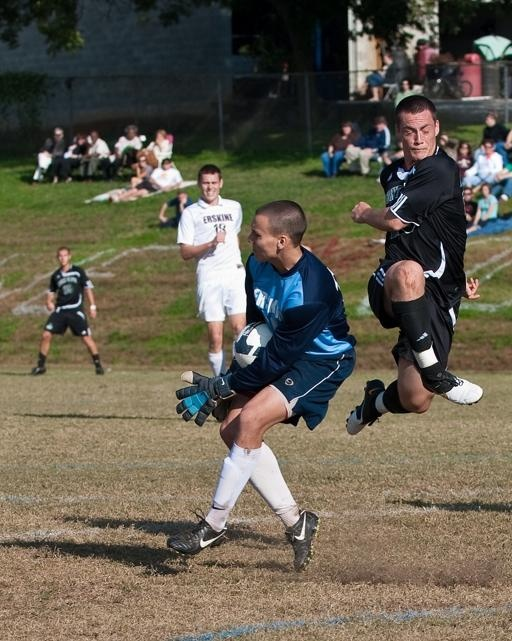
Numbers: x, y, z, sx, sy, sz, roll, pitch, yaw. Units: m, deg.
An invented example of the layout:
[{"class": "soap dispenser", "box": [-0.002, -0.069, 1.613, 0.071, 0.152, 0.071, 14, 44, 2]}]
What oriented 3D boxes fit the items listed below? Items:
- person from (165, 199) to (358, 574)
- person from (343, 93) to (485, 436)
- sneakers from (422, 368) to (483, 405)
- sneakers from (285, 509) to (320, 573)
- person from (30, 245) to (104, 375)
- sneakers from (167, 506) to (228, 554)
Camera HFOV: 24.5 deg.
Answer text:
[{"class": "person", "box": [0.041, 0.314, 6.258, 0.953, 1.882, 0.649, 0, 11, 3]}, {"class": "person", "box": [0.925, -0.319, 7.067, 0.615, 2.027, 0.729, -7, 13, -27]}, {"class": "sneakers", "box": [1.082, 0.369, 6.996, 0.460, 0.142, 0.181, 20, -9, -1]}, {"class": "sneakers", "box": [0.241, 1.152, 6.207, 0.178, 0.310, 0.123, 15, -20, -12]}, {"class": "person", "box": [-1.869, -0.096, 11.794, 0.496, 1.341, 1.110, 4, 11, 21]}, {"class": "sneakers", "box": [-0.250, 1.124, 6.226, 0.403, 0.190, 0.135, -12, 50, -42]}]
